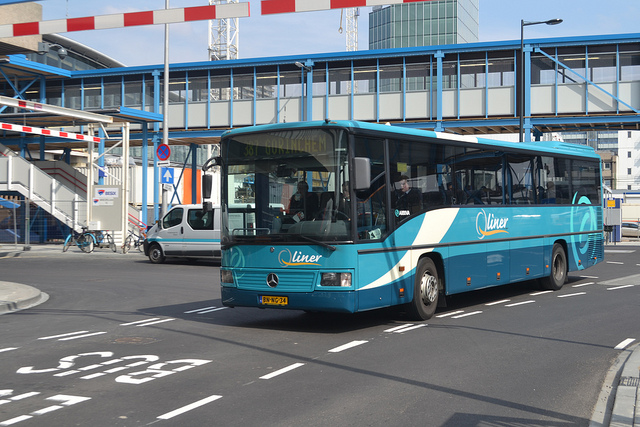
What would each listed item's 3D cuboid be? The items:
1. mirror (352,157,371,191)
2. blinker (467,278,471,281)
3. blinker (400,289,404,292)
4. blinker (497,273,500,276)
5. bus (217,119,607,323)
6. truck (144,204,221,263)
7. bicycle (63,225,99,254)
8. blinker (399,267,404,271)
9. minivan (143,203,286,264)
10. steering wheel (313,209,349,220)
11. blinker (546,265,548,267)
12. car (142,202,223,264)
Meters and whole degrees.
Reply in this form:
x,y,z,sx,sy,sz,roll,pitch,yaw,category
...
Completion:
x,y,z,sx,sy,sz,roll,pitch,yaw,category
0.747,-0.756,11.922,0.296,0.567,0.174,0,0,11,mirror
3.413,1.481,14.638,0.055,0.044,0.030,1,-3,-28,blinker
1.652,1.540,13.040,0.087,0.053,0.062,-5,-3,-1,blinker
4.364,1.458,15.551,0.066,0.071,0.038,-8,-24,24,blinker
3.906,0.102,17.257,3.930,4.525,14.142,-1,-4,40,bus
-5.431,0.829,26.060,3.784,2.229,2.357,2,-2,19,truck
-12.349,1.271,32.149,2.023,1.367,1.005,1,-7,13,bicycle
1.643,1.104,13.017,0.074,0.086,0.021,0,-1,6,blinker
-5.049,0.764,24.034,5.482,2.480,2.829,1,-1,27,minivan
0.198,0.006,12.256,0.682,0.194,0.031,-1,0,16,steering wheel
6.212,1.410,17.426,0.050,0.054,0.052,2,2,35,blinker
-5.172,0.599,26.132,4.135,2.437,2.294,2,12,-3,car
